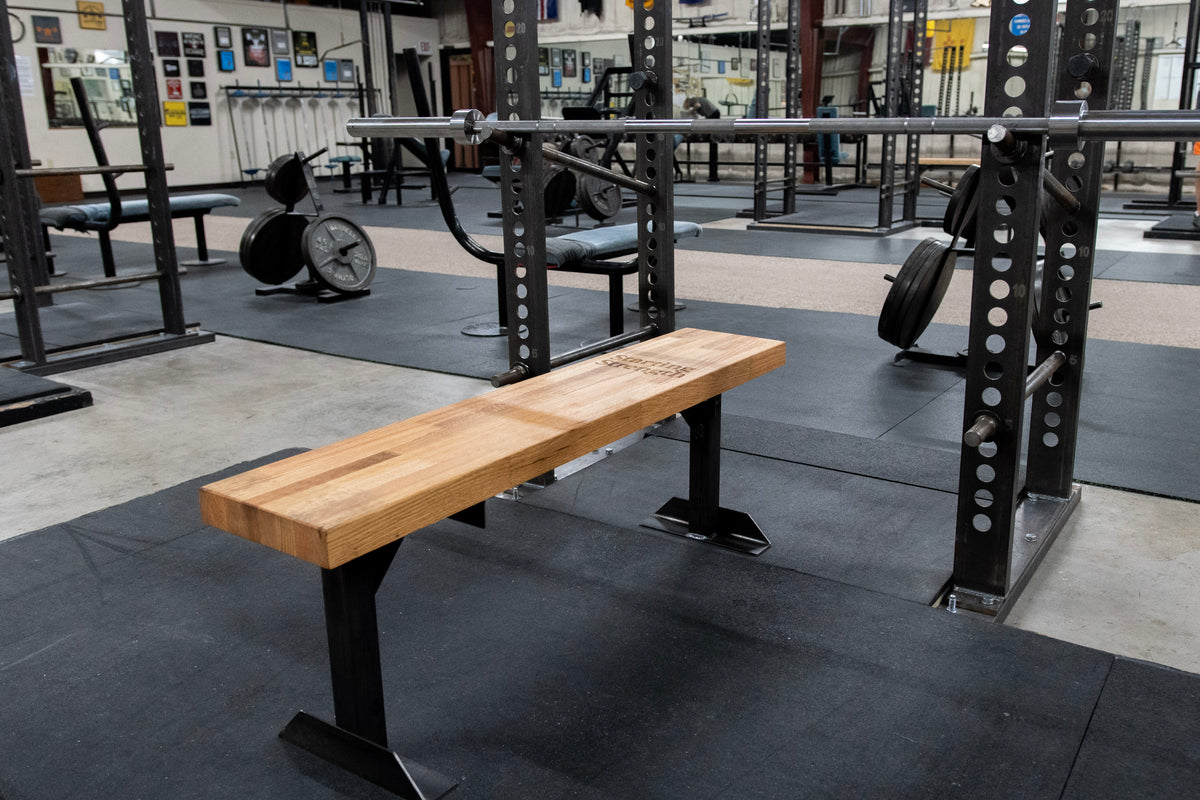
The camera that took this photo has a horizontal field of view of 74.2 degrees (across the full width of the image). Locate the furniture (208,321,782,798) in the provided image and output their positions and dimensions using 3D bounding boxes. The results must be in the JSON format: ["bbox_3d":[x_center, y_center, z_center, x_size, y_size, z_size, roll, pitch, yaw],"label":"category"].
[{"bbox_3d":[-0.192,0.317,2.006,0.499,0.602,1.276,16,27,36],"label":"furniture"}]
